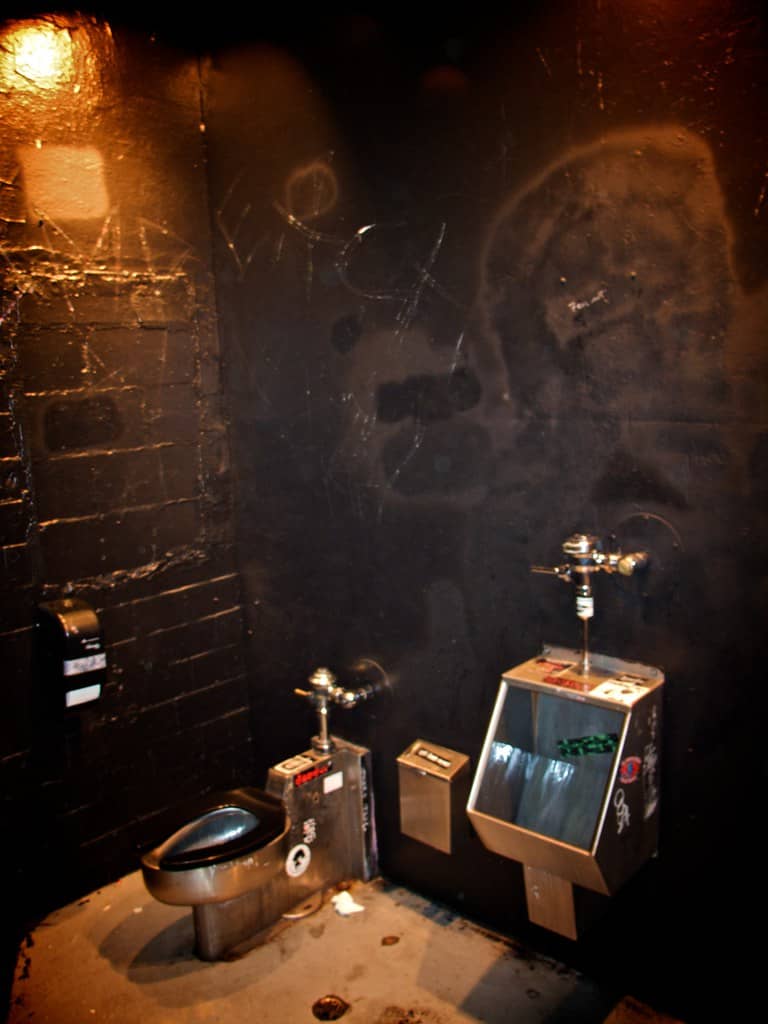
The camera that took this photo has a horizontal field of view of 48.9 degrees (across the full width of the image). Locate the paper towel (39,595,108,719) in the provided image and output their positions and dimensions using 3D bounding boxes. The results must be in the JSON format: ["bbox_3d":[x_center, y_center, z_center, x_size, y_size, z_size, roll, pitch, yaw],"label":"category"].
[{"bbox_3d":[-0.896,0.422,2.417,0.155,0.298,0.140,13,14,33],"label":"paper towel"}]

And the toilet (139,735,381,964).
[{"bbox_3d":[-0.345,1.000,2.446,0.279,0.448,0.745,2,9,32],"label":"toilet"}]
